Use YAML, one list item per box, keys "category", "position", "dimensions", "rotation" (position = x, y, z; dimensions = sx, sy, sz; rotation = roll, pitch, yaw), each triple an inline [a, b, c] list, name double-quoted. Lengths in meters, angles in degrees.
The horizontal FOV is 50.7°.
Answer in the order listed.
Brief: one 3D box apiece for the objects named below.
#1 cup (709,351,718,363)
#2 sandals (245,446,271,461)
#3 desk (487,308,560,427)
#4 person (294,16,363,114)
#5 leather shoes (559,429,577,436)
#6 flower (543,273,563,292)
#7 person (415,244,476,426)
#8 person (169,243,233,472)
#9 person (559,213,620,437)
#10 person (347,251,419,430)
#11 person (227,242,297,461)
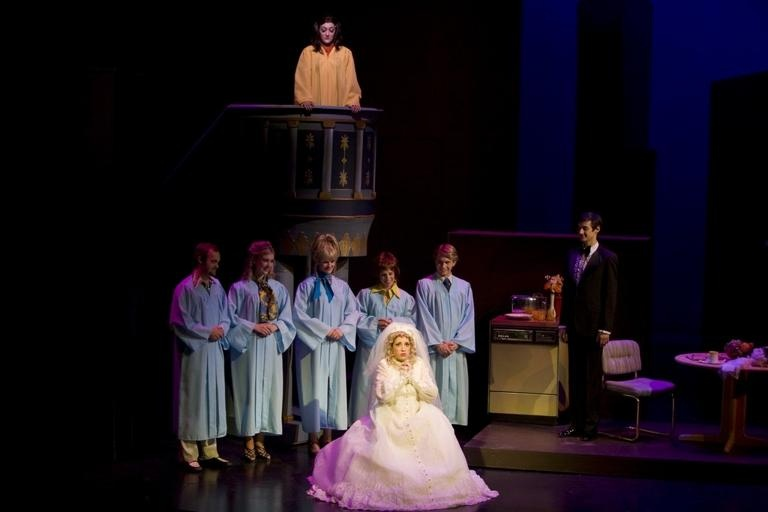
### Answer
- category: "cup"
  position: [3.245, 0.997, 8.046]
  dimensions: [0.089, 0.104, 0.091]
  rotation: [0, -3, 0]
- category: "sandals"
  position: [-1.231, 1.895, 7.833]
  dimensions: [0.278, 0.115, 0.103]
  rotation: [0, 1, -7]
- category: "desk"
  position: [1.295, 1.221, 8.953]
  dimensions: [0.883, 1.341, 0.934]
  rotation: [-1, -5, 12]
- category: "person"
  position: [-0.596, -2.089, 8.580]
  dimensions: [0.677, 0.944, 0.233]
  rotation: [1, 1, -7]
- category: "leather shoes"
  position: [1.825, 1.744, 8.078]
  dimensions: [0.165, 0.072, 0.059]
  rotation: [2, -4, 6]
- category: "flower"
  position: [1.823, 0.291, 8.746]
  dimensions: [0.099, 0.161, 0.204]
  rotation: [13, -8, -34]
- category: "person"
  position: [0.656, 0.796, 8.374]
  dimensions: [0.550, 1.784, 0.511]
  rotation: [-2, 21, 2]
- category: "person"
  position: [-1.731, 0.936, 7.602]
  dimensions: [0.536, 2.103, 0.258]
  rotation: [1, 1, -15]
- category: "person"
  position: [2.026, 0.676, 8.053]
  dimensions: [0.511, 2.222, 0.302]
  rotation: [1, 1, 13]
- category: "person"
  position: [0.005, 0.823, 8.292]
  dimensions: [0.622, 1.676, 0.539]
  rotation: [1, 19, -1]
- category: "person"
  position: [-1.188, 0.903, 7.852]
  dimensions: [0.650, 2.108, 0.303]
  rotation: [1, 1, -11]
